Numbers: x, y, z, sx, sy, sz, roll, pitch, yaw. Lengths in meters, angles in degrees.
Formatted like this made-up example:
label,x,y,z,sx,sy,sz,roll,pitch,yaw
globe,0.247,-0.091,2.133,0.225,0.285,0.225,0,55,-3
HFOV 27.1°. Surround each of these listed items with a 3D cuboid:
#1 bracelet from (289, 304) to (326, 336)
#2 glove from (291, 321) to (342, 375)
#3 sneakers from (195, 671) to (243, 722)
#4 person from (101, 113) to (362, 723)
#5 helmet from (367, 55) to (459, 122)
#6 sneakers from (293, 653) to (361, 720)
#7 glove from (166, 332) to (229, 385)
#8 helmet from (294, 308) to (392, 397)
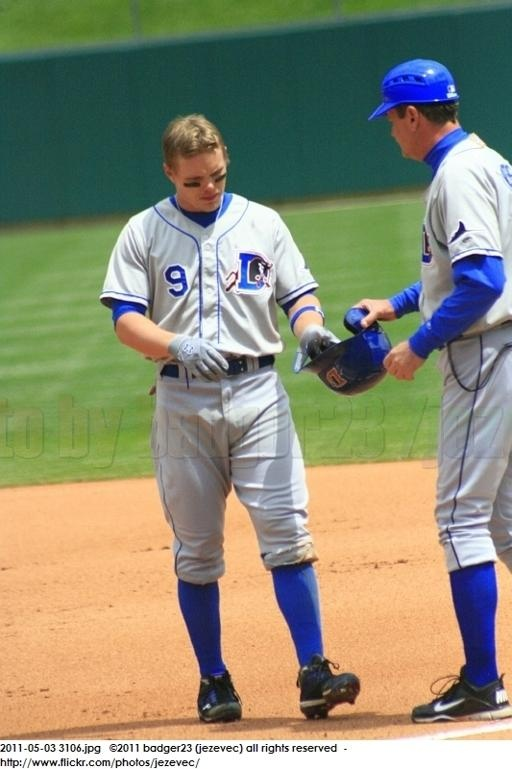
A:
label,x,y,z,sx,sy,sz,roll,pitch,yaw
bracelet,0.165,-0.208,3.302,0.081,0.054,0.130,-5,36,-6
glove,0.189,-0.115,3.294,0.134,0.147,0.076,9,8,-2
sneakers,-0.115,0.941,3.174,0.128,0.114,0.137,-7,12,-11
person,-0.064,0.078,3.237,0.679,1.783,0.545,-9,13,-14
helmet,0.465,-0.872,3.147,0.240,0.108,0.169,-1,7,19
sneakers,0.161,0.859,3.040,0.104,0.144,0.288,6,-29,-38
glove,-0.164,-0.083,3.031,0.116,0.157,0.048,-42,-14,-23
helmet,0.308,-0.094,3.358,0.336,0.206,0.219,-9,5,3
